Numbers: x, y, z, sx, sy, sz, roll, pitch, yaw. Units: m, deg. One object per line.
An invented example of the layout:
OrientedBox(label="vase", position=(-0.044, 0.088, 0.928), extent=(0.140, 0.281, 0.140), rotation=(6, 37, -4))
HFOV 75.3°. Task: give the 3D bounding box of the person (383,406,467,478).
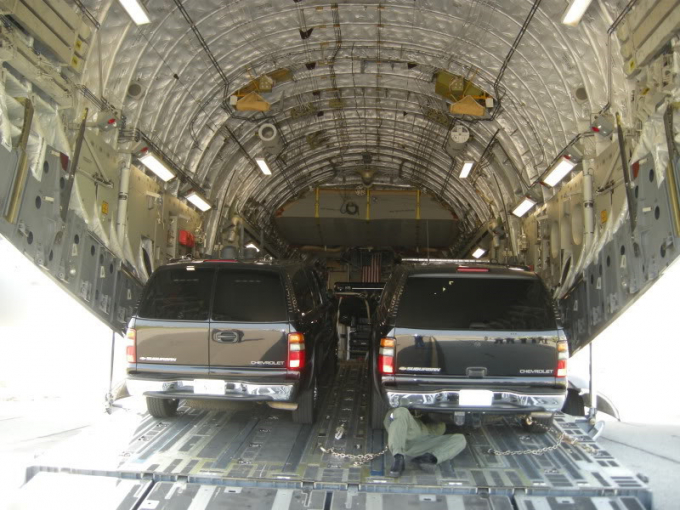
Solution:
OrientedBox(label="person", position=(0.889, 2.007, 4.973), extent=(1.165, 0.589, 0.636), rotation=(-2, 5, -31))

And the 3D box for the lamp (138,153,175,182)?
OrientedBox(label="lamp", position=(-3.787, -1.829, 9.138), extent=(0.477, 0.412, 1.393), rotation=(-1, 4, -12))

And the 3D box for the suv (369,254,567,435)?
OrientedBox(label="suv", position=(1.588, 0.898, 5.572), extent=(1.524, 1.156, 2.608), rotation=(1, 5, 2))

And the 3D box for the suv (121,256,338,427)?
OrientedBox(label="suv", position=(-1.417, 0.919, 5.430), extent=(1.753, 1.184, 2.783), rotation=(1, 3, 8))

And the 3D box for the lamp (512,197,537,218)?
OrientedBox(label="lamp", position=(4.726, -1.229, 11.268), extent=(0.303, 0.066, 1.000), rotation=(34, -12, 3))

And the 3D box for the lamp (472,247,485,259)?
OrientedBox(label="lamp", position=(4.967, -0.063, 15.662), extent=(0.105, 0.338, 0.377), rotation=(23, 15, -31))

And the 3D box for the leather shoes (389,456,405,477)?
OrientedBox(label="leather shoes", position=(0.590, 2.162, 4.527), extent=(0.100, 0.168, 0.197), rotation=(2, 5, 31))

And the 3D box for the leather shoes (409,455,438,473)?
OrientedBox(label="leather shoes", position=(0.925, 2.240, 4.790), extent=(0.107, 0.121, 0.300), rotation=(4, 0, -19))

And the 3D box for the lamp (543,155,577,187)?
OrientedBox(label="lamp", position=(4.434, -1.686, 8.838), extent=(0.313, 0.089, 0.920), rotation=(30, -15, 1))
